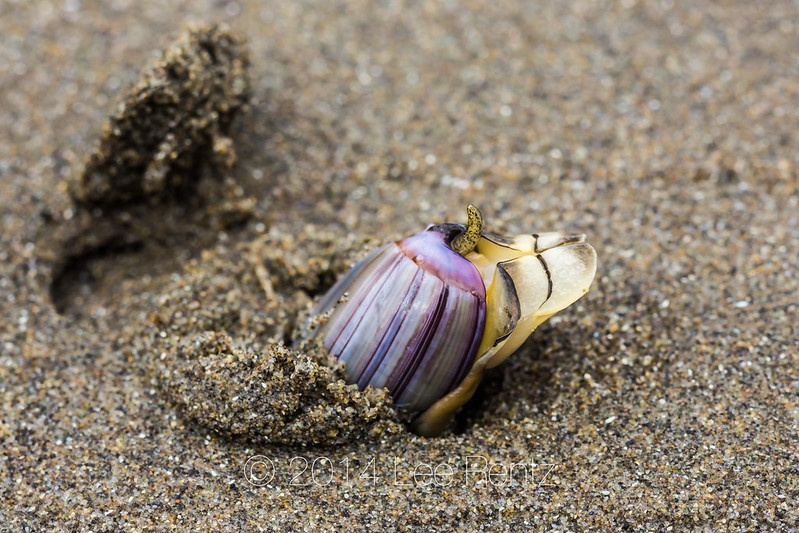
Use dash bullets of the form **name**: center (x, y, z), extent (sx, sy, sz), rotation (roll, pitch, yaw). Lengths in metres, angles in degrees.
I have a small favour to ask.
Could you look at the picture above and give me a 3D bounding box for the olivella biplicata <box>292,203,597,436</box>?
- **olivella biplicata**: center (0.277, 0.185, 5.563), extent (1.460, 0.494, 0.950), rotation (-41, 81, -8)
